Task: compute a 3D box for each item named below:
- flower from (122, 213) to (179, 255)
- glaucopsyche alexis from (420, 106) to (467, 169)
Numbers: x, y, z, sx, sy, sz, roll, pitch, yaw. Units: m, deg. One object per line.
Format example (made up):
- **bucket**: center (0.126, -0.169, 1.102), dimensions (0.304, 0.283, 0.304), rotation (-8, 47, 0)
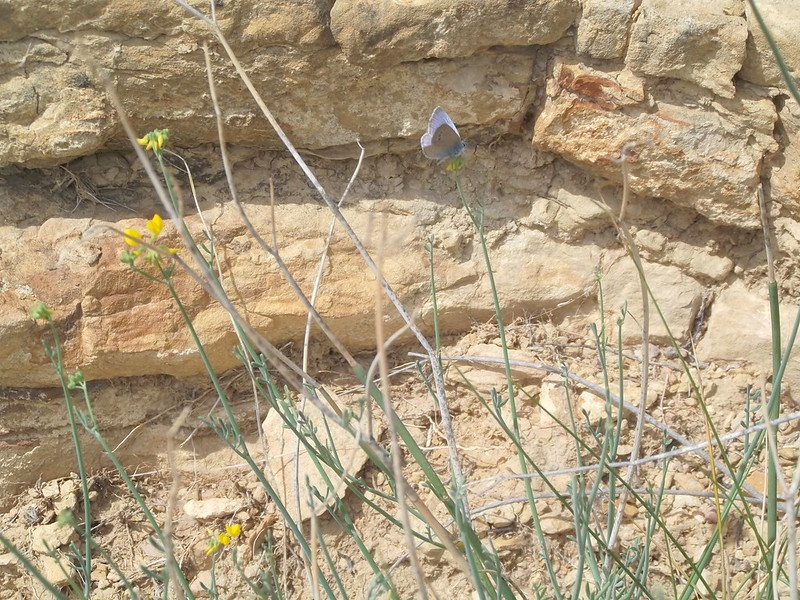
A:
- **flower**: center (-0.775, -0.211, 4.422), dimensions (0.116, 0.047, 0.114), rotation (-26, -16, -11)
- **glaucopsyche alexis**: center (0.131, -0.486, 4.319), dimensions (0.110, 0.213, 0.153), rotation (-2, 17, 10)
